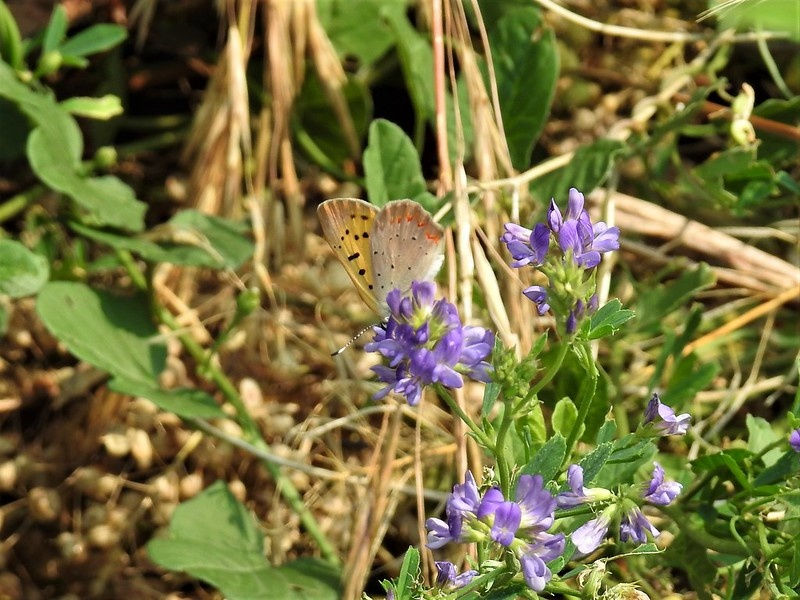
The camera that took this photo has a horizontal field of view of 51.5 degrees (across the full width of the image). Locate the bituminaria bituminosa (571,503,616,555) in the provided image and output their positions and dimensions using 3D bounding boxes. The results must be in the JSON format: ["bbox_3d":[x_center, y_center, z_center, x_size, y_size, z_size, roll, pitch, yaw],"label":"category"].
[{"bbox_3d":[0.475,0.557,2.051,0.062,0.073,0.171,29,56,14],"label":"bituminaria bituminosa"}]

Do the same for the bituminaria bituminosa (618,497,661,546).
[{"bbox_3d":[0.578,0.562,2.068,0.101,0.043,0.101,52,51,-20],"label":"bituminaria bituminosa"}]

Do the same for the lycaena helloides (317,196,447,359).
[{"bbox_3d":[-0.047,-0.066,2.419,0.291,0.516,0.398,-22,93,-19],"label":"lycaena helloides"}]

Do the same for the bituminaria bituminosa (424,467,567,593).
[{"bbox_3d":[0.222,0.536,1.926,0.286,0.261,0.128,-22,38,36],"label":"bituminaria bituminosa"}]

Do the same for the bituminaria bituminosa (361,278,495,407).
[{"bbox_3d":[0.100,0.108,2.064,0.291,0.233,0.312,3,78,40],"label":"bituminaria bituminosa"}]

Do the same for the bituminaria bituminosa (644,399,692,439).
[{"bbox_3d":[0.661,0.300,2.082,0.102,0.106,0.062,-39,75,-2],"label":"bituminaria bituminosa"}]

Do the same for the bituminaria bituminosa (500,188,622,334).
[{"bbox_3d":[0.418,-0.100,1.994,0.267,0.184,0.298,-22,63,-10],"label":"bituminaria bituminosa"}]

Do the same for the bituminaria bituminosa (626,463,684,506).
[{"bbox_3d":[0.648,0.435,2.091,0.128,0.125,0.068,-20,43,-15],"label":"bituminaria bituminosa"}]
